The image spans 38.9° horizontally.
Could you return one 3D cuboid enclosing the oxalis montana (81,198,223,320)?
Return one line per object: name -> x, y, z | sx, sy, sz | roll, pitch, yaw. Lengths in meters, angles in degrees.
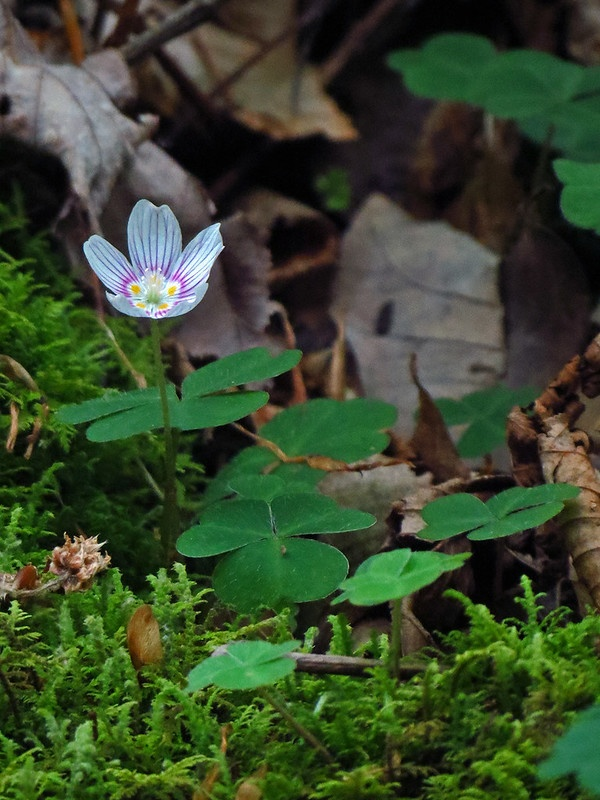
oxalis montana -> -0.335, -0.278, 1.981 | 0.341, 0.141, 0.319 | -4, -23, -6
